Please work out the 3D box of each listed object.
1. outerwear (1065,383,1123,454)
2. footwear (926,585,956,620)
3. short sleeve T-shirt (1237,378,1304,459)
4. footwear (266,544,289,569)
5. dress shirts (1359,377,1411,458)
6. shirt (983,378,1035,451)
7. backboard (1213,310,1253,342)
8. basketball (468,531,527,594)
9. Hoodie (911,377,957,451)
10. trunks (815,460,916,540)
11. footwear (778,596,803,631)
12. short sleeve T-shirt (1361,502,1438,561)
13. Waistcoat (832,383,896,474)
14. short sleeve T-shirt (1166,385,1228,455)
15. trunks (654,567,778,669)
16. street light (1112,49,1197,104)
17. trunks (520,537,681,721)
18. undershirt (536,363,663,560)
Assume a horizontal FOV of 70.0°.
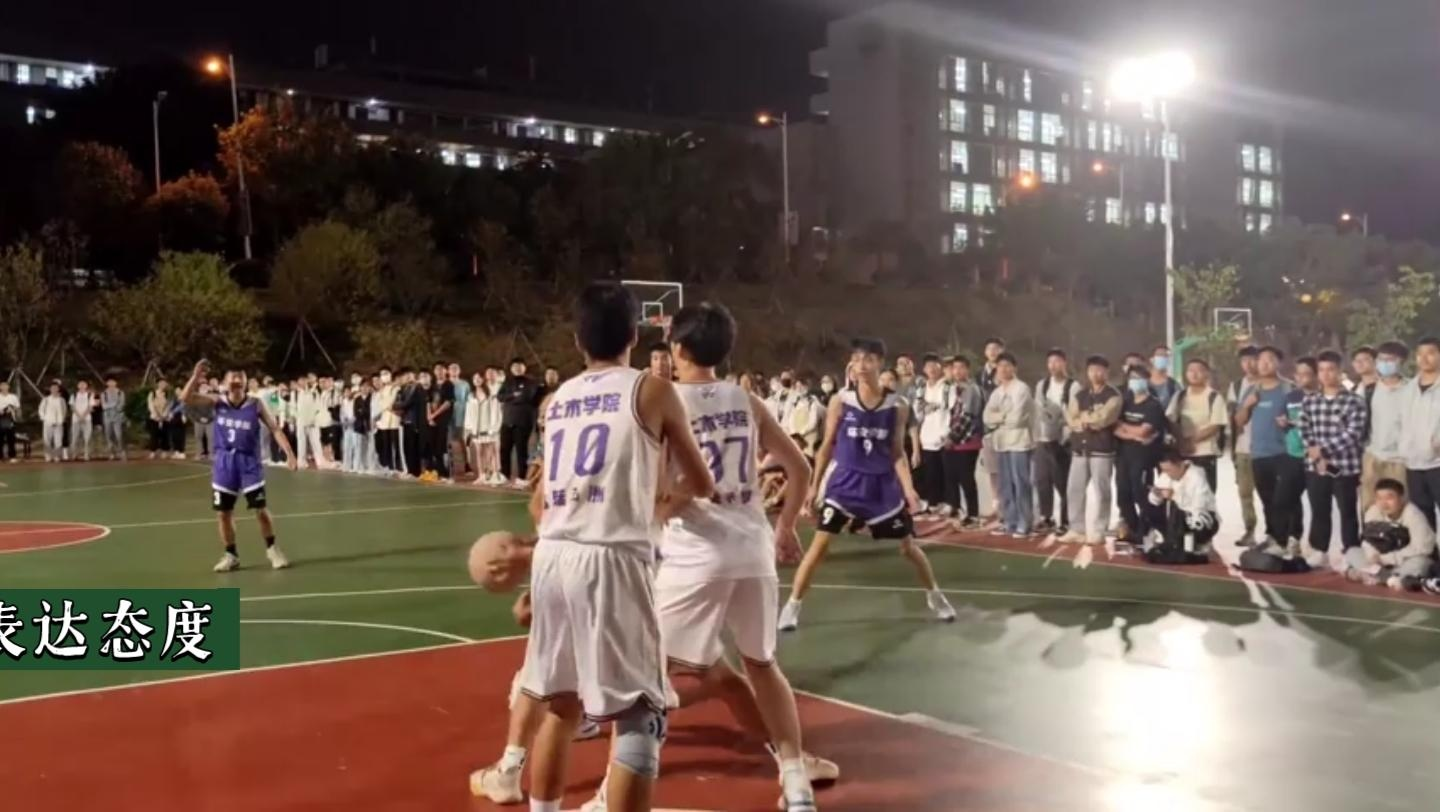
[{"bbox_3d":[6.201,0.233,17.100,0.695,1.202,0.926,3,-2,-40],"label":"outerwear"},{"bbox_3d":[2.809,2.591,13.363,0.217,0.325,0.562,-16,-37,26],"label":"footwear"},{"bbox_3d":[8.687,0.209,16.213,0.784,1.461,1.180,3,-6,-31],"label":"short sleeve T-shirt"},{"bbox_3d":[-7.033,2.355,16.274,0.198,0.260,0.454,-26,25,-23],"label":"footwear"},{"bbox_3d":[9.654,0.200,14.926,0.522,1.459,1.101,10,4,42],"label":"dress shirts"},{"bbox_3d":[5.130,0.163,18.249,0.732,1.202,0.950,-6,5,-33],"label":"shirt"},{"bbox_3d":[26.117,-4.083,52.674,2.550,1.762,1.345,1,2,-33],"label":"backboard"},{"bbox_3d":[-1.951,1.409,9.194,0.543,0.528,0.291,-3,13,-9],"label":"basketball"},{"bbox_3d":[3.905,0.150,19.094,0.518,1.142,0.848,2,-3,-36],"label":"Hoodie"},{"bbox_3d":[1.857,1.187,13.157,1.286,0.949,0.634,5,0,20],"label":"trunks"},{"bbox_3d":[0.874,2.661,13.074,0.295,0.479,0.489,3,-21,4],"label":"footwear"},{"bbox_3d":[9.657,1.743,14.725,0.784,0.654,0.802,4,-1,18],"label":"short sleeve T-shirt"},{"bbox_3d":[1.810,0.320,12.958,0.894,1.118,0.622,13,0,11],"label":"Waistcoat"},{"bbox_3d":[7.670,0.256,16.619,1.099,1.177,0.434,-1,6,14],"label":"short sleeve T-shirt"},{"bbox_3d":[-0.014,1.973,9.982,1.470,1.124,0.859,1,-2,2],"label":"trunks"},{"bbox_3d":[12.555,-9.589,29.842,1.937,1.155,2.349,5,13,23],"label":"street light"},{"bbox_3d":[-1.059,1.910,8.869,1.588,1.572,1.017,5,6,31],"label":"trunks"},{"bbox_3d":[-1.055,0.461,8.875,1.064,1.548,0.521,-1,13,-2],"label":"undershirt"}]
